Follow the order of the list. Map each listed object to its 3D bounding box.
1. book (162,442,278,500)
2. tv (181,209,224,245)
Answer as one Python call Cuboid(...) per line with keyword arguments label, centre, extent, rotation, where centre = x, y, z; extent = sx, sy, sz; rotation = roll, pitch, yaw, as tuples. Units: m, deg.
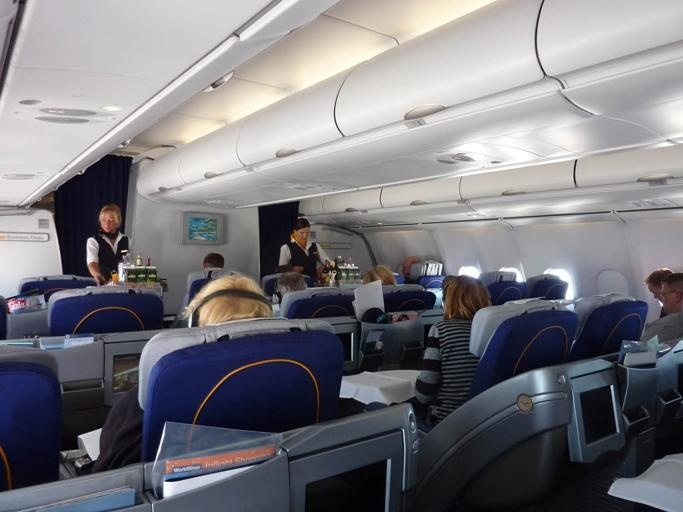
Cuboid(label="book", centre=(-0.272, 0.496, 1.079), extent=(0.270, 0.088, 0.038), rotation=(-4, -2, -22))
Cuboid(label="tv", centre=(-2.539, -0.548, 8.392), extent=(0.711, 0.497, 0.073), rotation=(0, -1, -39))
